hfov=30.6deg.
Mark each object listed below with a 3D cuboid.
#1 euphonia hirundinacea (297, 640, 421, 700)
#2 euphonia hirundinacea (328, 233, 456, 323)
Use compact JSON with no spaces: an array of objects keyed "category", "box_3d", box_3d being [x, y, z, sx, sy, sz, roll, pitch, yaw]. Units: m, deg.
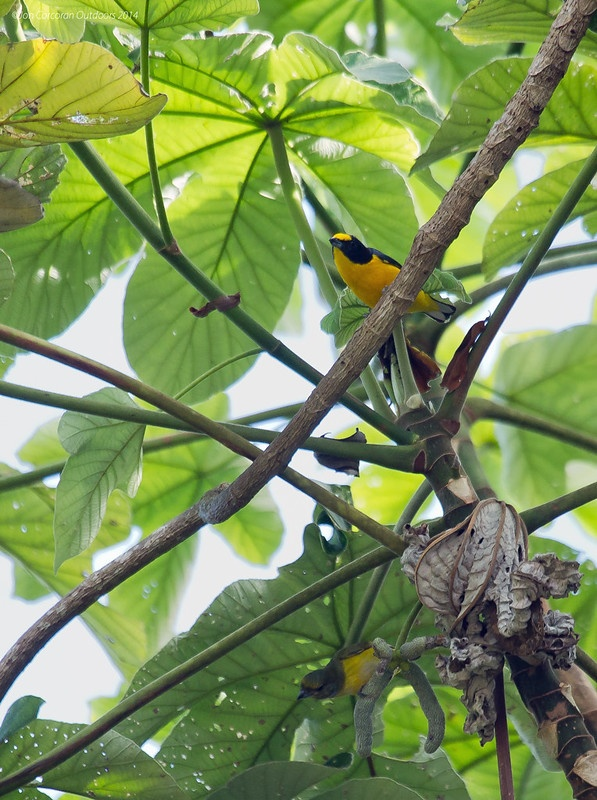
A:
[{"category":"euphonia hirundinacea","box_3d":[0.092,0.389,1.643,0.065,0.170,0.052,-34,-95,51]},{"category":"euphonia hirundinacea","box_3d":[0.200,-0.255,2.374,0.347,0.125,0.111,14,-24,-32]}]
